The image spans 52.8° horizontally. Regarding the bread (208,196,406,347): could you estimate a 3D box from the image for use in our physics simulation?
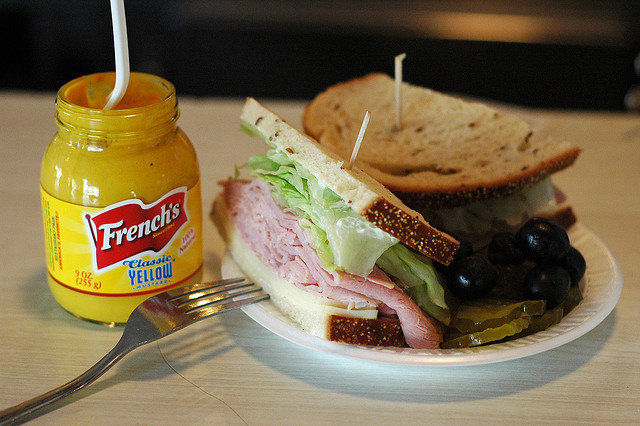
[{"bbox_3d":[-0.070,0.195,2.210,0.667,0.097,0.356,40,34,25],"label":"bread"}]

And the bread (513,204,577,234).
[{"bbox_3d":[0.939,0.014,2.517,0.150,0.038,0.144,-14,9,30],"label":"bread"}]

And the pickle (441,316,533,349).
[{"bbox_3d":[0.518,0.363,2.062,0.249,0.200,0.042,7,45,-7],"label":"pickle"}]

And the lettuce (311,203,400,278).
[{"bbox_3d":[0.109,0.078,2.083,0.252,0.069,0.238,25,17,-7],"label":"lettuce"}]

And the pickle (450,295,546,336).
[{"bbox_3d":[0.601,0.350,2.170,0.299,0.072,0.193,5,17,13],"label":"pickle"}]

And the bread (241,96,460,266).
[{"bbox_3d":[0.050,-0.128,2.154,0.604,0.173,0.603,33,5,-41],"label":"bread"}]
